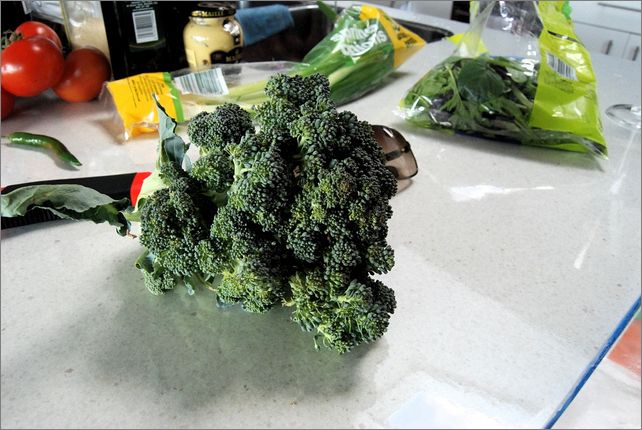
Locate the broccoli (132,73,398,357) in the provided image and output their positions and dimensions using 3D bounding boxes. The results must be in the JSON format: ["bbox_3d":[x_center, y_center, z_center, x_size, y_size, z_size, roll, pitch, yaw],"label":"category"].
[{"bbox_3d":[-0.058,-0.022,0.866,0.430,0.380,0.435,6,10,13],"label":"broccoli"}]

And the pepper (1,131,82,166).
[{"bbox_3d":[-0.643,-0.147,1.032,0.211,0.044,0.035,15,0,13],"label":"pepper"}]

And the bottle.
[{"bbox_3d":[-0.316,-0.511,1.344,0.175,0.192,0.180,-29,42,-36],"label":"bottle"}]
